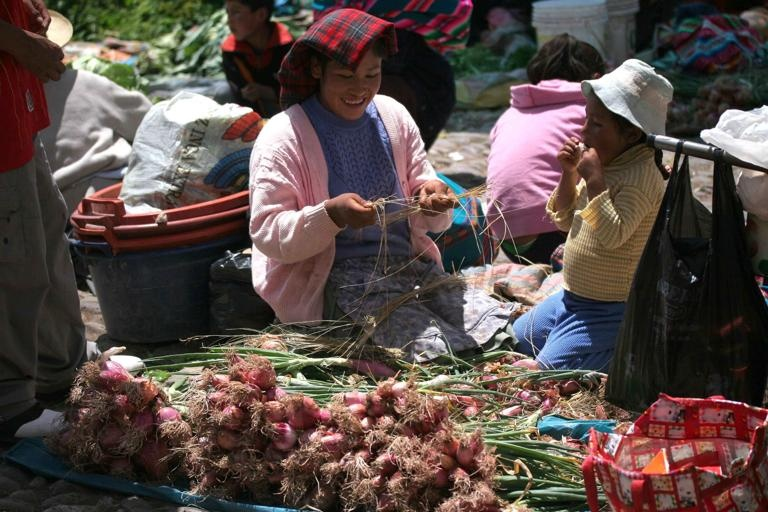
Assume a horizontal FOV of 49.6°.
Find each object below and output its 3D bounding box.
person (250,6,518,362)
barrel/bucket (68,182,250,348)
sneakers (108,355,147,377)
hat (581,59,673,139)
[{"bbox_3d":[-0.103,-0.400,4.577,1.319,1.816,0.944,-5,21,-9],"label":"person"},{"bbox_3d":[-1.400,-0.017,5.466,0.996,0.793,1.046,0,13,0],"label":"barrel/bucket"},{"bbox_3d":[-1.366,0.588,4.409,0.187,0.060,0.103,25,8,16],"label":"sneakers"},{"bbox_3d":[1.290,-0.818,4.364,0.479,0.392,0.415,1,20,6],"label":"hat"}]
